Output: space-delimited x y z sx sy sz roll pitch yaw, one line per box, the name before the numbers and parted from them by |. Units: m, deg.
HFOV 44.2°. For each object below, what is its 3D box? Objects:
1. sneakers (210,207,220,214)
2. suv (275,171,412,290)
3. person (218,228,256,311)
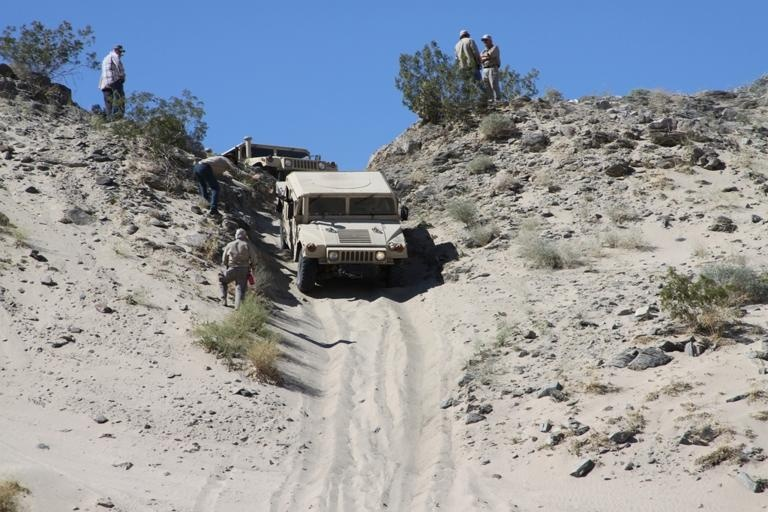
sneakers | -4.553 -1.181 25.227 0.243 0.263 0.205 9 -21 -19
suv | -1.171 -0.790 24.455 3.127 3.845 2.409 5 -20 -10
person | -3.372 0.380 21.511 0.843 1.908 0.654 -5 -20 16
